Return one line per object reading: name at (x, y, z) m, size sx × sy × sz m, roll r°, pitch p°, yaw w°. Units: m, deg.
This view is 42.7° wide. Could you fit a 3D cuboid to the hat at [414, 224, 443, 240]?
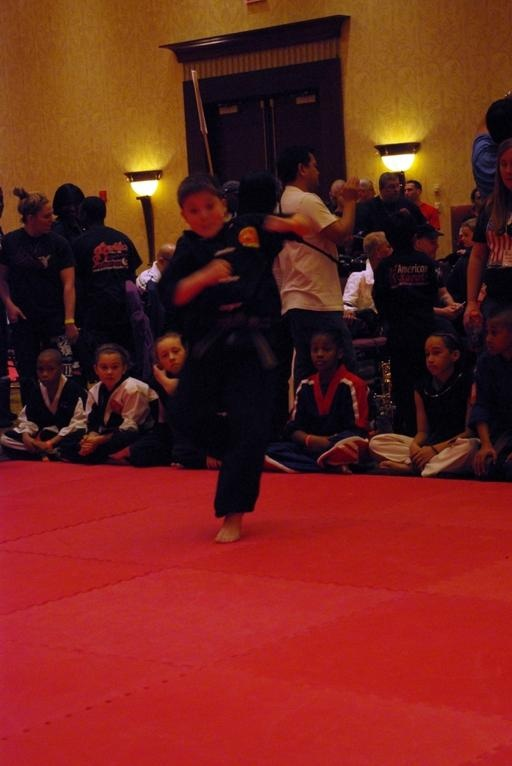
hat at (1.337, -1.148, 5.054) m, size 0.250 × 0.082 × 0.167 m, roll 0°, pitch 6°, yaw -22°
